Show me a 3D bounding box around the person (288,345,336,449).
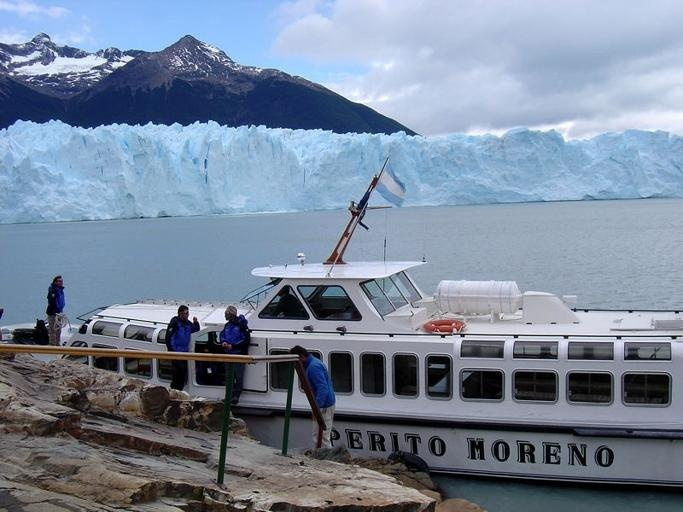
[{"bbox_3d":[-0.402,2.129,11.187,0.562,1.697,1.388,0,1,3],"label":"person"}]
